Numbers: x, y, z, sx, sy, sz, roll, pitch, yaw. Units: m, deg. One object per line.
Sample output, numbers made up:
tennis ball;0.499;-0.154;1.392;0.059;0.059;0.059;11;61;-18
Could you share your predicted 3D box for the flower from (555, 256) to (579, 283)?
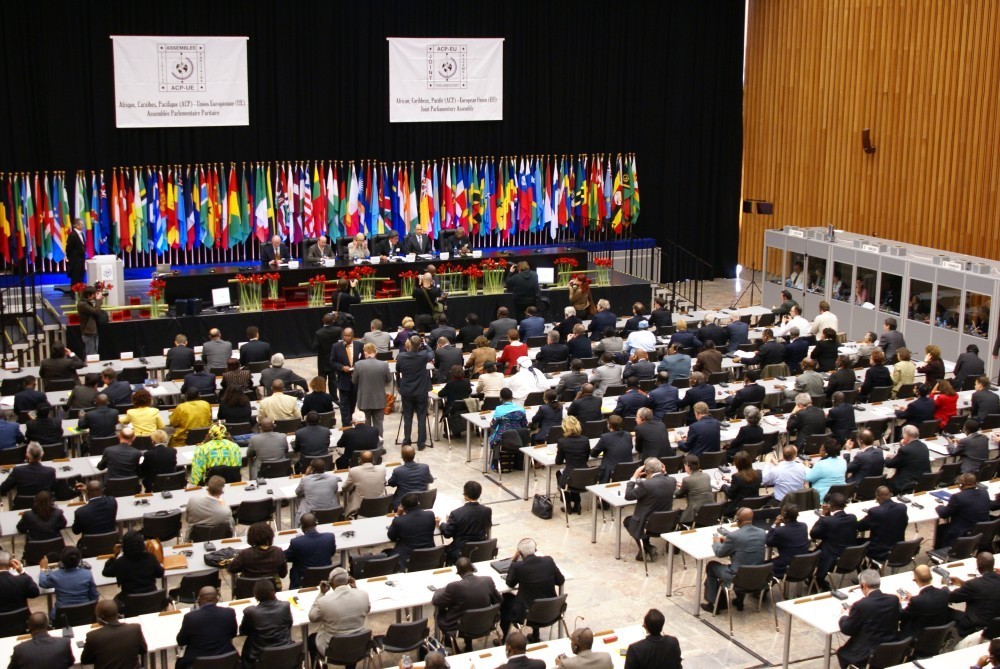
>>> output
flower;1.809;-1.756;26.961;0.600;0.768;0.685;-3;-4;23

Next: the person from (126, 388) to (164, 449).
person;-6.080;1.420;17.065;0.602;1.396;0.782;-4;37;-21

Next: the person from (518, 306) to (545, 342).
person;0.701;-0.221;22.204;0.477;1.201;0.661;-4;26;-10

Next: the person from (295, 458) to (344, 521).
person;-2.695;2.315;14.877;0.549;1.371;0.780;-5;40;-17

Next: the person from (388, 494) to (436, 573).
person;-1.213;2.789;13.876;0.572;1.415;0.744;-6;44;-13

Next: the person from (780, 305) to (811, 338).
person;6.707;-0.285;22.713;0.577;1.021;0.557;3;46;11

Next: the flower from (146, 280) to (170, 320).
flower;-7.966;-0.870;23.285;0.423;0.855;0.762;-9;12;-17

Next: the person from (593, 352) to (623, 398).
person;2.108;0.801;19.445;0.454;1.144;0.644;-5;34;-5

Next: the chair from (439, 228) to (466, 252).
chair;-1.249;-2.513;26.542;0.548;0.797;0.645;-3;7;-17

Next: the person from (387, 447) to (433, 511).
person;-1.378;2.312;15.314;0.603;1.427;0.705;-4;33;-13

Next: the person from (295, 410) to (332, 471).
person;-3.079;1.733;16.482;0.542;1.330;0.711;-6;33;-16

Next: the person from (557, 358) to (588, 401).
person;1.376;0.870;19.025;0.483;1.140;0.642;1;28;-4

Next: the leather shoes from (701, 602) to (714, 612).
leather shoes;3.029;3.949;14.519;0.118;0.091;0.120;-1;4;-12

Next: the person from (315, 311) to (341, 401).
person;-3.616;0.424;20.805;0.570;1.957;0.571;-10;29;-29

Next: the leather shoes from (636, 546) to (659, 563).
leather shoes;2.330;3.463;15.841;0.448;0.187;0.143;-11;14;-44

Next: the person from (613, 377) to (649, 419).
person;2.348;1.154;18.051;0.491;0.911;0.486;-3;28;-2

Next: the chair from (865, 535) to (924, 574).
chair;5.663;3.168;14.398;0.436;0.821;0.483;-12;32;-14

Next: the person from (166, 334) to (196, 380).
person;-6.386;0.459;19.963;0.511;1.280;0.724;-4;28;-21

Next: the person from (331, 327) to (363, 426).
person;-2.938;0.912;19.834;0.669;2.129;0.659;-13;29;-35

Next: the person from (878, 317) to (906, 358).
person;8.545;0.073;21.651;0.469;1.128;0.635;-8;30;8

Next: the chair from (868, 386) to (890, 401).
chair;7.340;1.118;19.327;0.267;0.410;0.289;-2;22;-4

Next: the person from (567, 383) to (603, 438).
person;1.490;1.349;17.507;0.491;1.246;0.683;-6;29;-4

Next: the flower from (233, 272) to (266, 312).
flower;-6.033;-1.045;24.121;0.774;1.164;0.810;4;11;16

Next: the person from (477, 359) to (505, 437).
person;-0.172;1.011;18.909;0.719;1.230;0.859;-3;19;-10

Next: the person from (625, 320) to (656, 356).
person;3.049;0.084;21.526;0.444;0.923;0.504;6;46;6

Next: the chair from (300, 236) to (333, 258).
chair;-4.669;-2.233;25.494;0.451;0.742;0.630;-4;9;-24

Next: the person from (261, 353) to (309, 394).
person;-4.275;0.783;19.843;0.537;1.123;0.441;-4;36;-9

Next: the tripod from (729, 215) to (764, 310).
tripod;7.767;-2.166;30.692;1.225;2.325;1.296;-3;15;-4

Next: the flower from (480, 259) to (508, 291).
flower;-0.131;-1.481;25.588;0.700;0.933;0.724;-11;20;-39

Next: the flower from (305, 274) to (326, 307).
flower;-4.486;-1.094;24.540;0.511;0.722;0.536;-7;12;-9

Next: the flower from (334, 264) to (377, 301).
flower;-3.452;-1.278;24.772;0.942;0.904;0.583;-9;13;-18

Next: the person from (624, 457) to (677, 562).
person;2.335;2.725;15.519;0.752;1.671;0.675;-7;21;-34

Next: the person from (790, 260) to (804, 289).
person;8.009;-1.637;26.670;0.139;0.811;0.362;-12;13;-29

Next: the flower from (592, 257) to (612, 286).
flower;2.825;-1.691;27.039;0.650;0.831;0.627;-1;6;-21

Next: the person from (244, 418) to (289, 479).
person;-3.774;1.993;16.252;0.586;1.380;0.766;-3;24;-24

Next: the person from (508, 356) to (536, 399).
person;0.424;0.826;19.143;0.530;0.768;0.287;-1;-16;-20

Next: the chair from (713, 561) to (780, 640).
chair;3.483;3.765;14.183;0.682;1.035;0.727;-7;31;-7

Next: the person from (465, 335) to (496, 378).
person;-0.390;0.445;19.981;0.491;1.119;0.621;-7;24;-12

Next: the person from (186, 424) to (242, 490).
person;-4.466;1.936;15.754;0.735;1.060;0.541;-1;4;-39

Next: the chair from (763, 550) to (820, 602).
chair;4.142;3.396;14.122;0.552;0.926;0.628;-12;27;-17

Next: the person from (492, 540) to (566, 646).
person;0.376;3.433;13.434;0.664;1.663;0.963;-13;12;-33

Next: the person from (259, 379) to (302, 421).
person;-3.857;1.133;17.425;0.717;0.759;0.474;-8;12;-15

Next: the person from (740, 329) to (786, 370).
person;5.533;0.340;20.984;0.532;0.984;0.519;-10;27;-6

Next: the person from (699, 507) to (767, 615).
person;3.291;3.189;14.062;0.929;1.664;0.653;0;13;24

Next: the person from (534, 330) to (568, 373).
person;1.047;0.370;20.609;0.546;1.134;0.599;-2;33;-6

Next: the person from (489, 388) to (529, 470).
person;0.133;1.744;18.093;0.636;1.473;0.615;0;18;-11

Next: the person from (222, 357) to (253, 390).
person;-4.889;0.733;18.593;0.304;0.723;0.414;-8;46;-19

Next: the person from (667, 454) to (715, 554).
person;2.999;2.533;15.488;0.665;1.401;0.714;-13;19;-27

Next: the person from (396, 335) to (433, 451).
person;-1.580;1.105;19.000;0.653;2.254;0.442;-8;12;-12

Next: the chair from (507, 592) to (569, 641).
chair;0.477;3.675;13.099;0.530;0.771;0.533;-9;37;-12

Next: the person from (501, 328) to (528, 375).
person;0.278;0.365;20.264;0.541;1.243;0.699;-6;28;-12

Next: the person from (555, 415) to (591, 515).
person;1.254;2.199;16.654;0.588;1.848;0.614;-4;12;4

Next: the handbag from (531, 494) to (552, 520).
handbag;0.718;2.931;16.986;0.157;0.331;0.342;1;4;-39

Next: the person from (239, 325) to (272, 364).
person;-5.171;0.214;21.036;0.477;0.986;0.521;-7;36;-12

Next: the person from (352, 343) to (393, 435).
person;-2.421;1.122;18.924;0.663;1.911;0.588;-6;20;-21

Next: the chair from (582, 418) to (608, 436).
chair;1.669;1.602;17.665;0.290;0.477;0.336;-7;20;-21

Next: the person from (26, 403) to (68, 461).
person;-7.453;1.627;16.434;0.624;1.139;0.607;-5;31;-23
